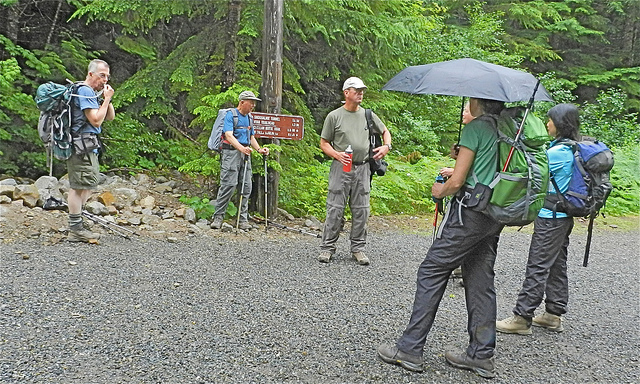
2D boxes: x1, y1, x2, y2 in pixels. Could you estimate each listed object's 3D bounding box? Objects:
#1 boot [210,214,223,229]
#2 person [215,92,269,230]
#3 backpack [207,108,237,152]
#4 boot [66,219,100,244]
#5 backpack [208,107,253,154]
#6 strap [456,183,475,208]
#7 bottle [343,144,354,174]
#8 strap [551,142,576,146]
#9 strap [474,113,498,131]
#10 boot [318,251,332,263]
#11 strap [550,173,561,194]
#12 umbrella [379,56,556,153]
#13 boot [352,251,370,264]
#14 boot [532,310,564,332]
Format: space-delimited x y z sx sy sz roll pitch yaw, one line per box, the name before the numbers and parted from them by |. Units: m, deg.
boot | -2.178 0.617 11.242 0.247 0.279 0.200 3 7 -10
person | -1.684 -0.669 11.324 0.920 2.878 0.825 1 8 -30
backpack | -2.030 -1.318 11.191 0.551 0.903 0.235 3 7 -11
boot | -4.390 0.711 9.864 0.253 0.443 0.702 -2 -9 33
backpack | -1.880 -1.294 11.188 0.866 0.931 0.367 3 8 -12
strap | 1.955 0.052 7.223 0.128 0.279 0.225 10 -1 -17
bottle | 0.533 -0.604 9.667 0.176 0.515 0.107 4 7 -8
strap | 3.730 -0.733 8.047 0.109 0.047 0.138 -2 -5 -30
strap | 2.279 -0.955 7.226 0.228 0.226 0.186 37 27 27
boot | 0.104 1.196 9.778 0.217 0.102 0.298 0 5 7
strap | 3.570 -0.140 8.068 0.090 0.331 0.059 -34 -17 35
umbrella | 2.014 -1.384 7.791 1.483 0.791 1.396 6 17 3
boot | 0.770 1.207 9.818 0.167 0.125 0.344 -7 8 -26
boot | 3.606 1.984 8.302 0.552 0.297 0.231 3 7 -7
